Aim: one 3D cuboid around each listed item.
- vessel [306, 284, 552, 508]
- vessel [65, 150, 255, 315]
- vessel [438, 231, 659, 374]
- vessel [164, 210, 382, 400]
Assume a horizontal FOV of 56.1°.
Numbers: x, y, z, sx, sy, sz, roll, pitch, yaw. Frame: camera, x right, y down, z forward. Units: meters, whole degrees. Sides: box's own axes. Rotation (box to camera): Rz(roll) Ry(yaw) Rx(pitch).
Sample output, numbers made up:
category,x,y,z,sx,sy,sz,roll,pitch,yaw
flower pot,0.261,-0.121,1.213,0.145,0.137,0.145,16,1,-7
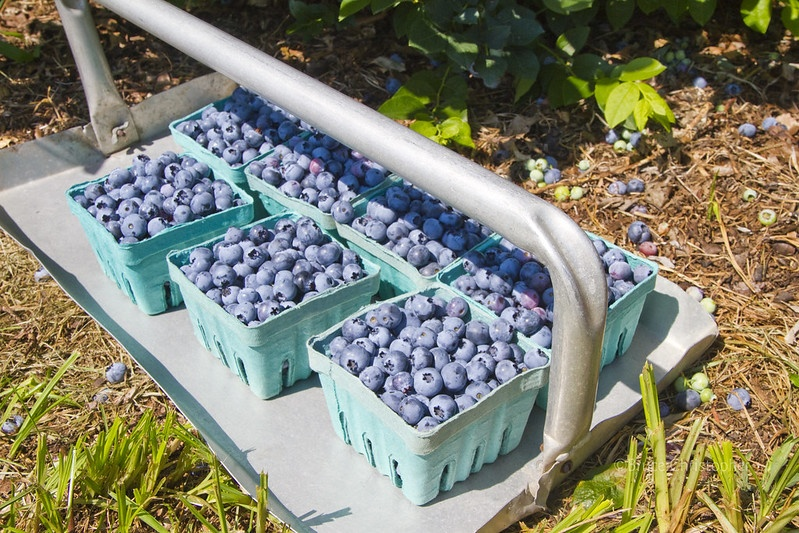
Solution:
category,x,y,z,sx,sy,sz,roll,pitch,yaw
vessel,0.102,0.841,4.198,1.066,0.678,1.154,-30,50,-32
vessel,-1.484,-0.325,4.673,0.962,0.685,1.101,-32,53,-28
vessel,0.928,0.027,4.560,0.796,0.528,1.087,-36,55,-29
vessel,-0.773,0.271,4.418,0.940,0.564,1.087,-29,45,-34
